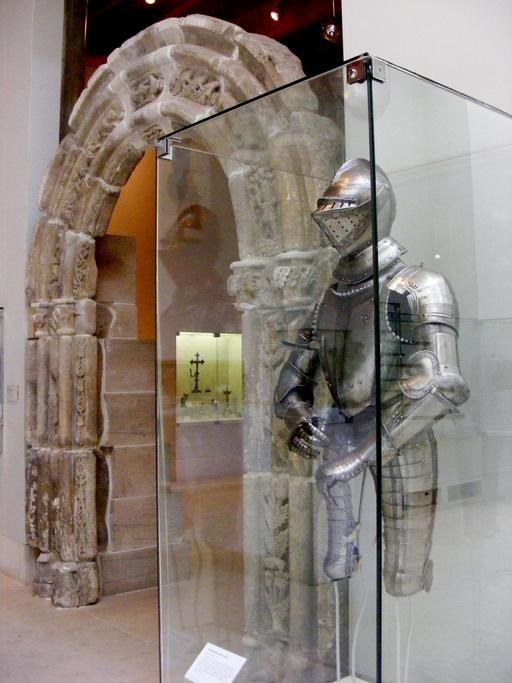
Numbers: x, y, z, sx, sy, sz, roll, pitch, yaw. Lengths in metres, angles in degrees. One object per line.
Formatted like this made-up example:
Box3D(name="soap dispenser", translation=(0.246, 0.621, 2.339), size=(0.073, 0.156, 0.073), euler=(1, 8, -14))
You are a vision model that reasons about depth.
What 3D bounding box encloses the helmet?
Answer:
Box3D(name="helmet", translation=(0.194, -0.270, 1.395), size=(0.197, 0.177, 0.152), euler=(-4, 7, -34))
